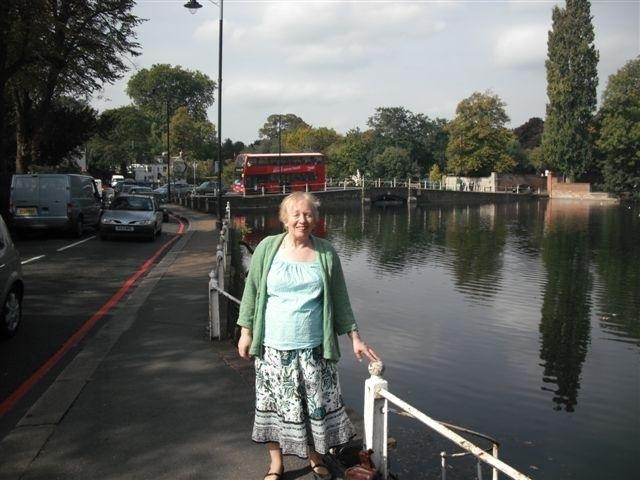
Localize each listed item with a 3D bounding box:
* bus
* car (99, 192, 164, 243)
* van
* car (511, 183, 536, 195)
[{"bbox_3d":[-3.491,-5.981,62.858,3.758,5.413,11.865,4,5,43],"label":"bus"},{"bbox_3d":[-6.837,-0.790,23.996,1.860,1.663,2.278,1,6,-2],"label":"car"},{"bbox_3d":[-9.379,-1.262,23.784,1.730,2.288,3.520,2,6,4],"label":"van"},{"bbox_3d":[25.848,-6.490,84.078,2.476,1.147,6.859,4,7,22],"label":"car"}]
